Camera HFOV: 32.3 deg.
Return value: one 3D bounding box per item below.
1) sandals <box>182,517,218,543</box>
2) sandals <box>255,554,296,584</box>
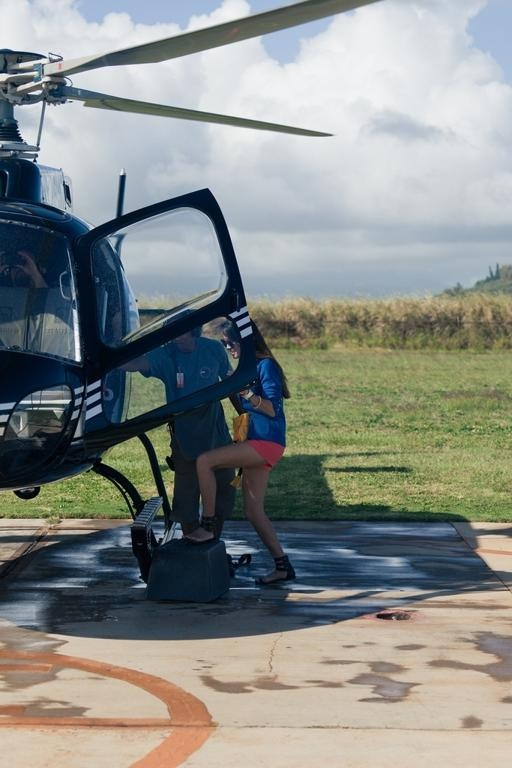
[{"bbox_3d":[-0.270,0.802,4.895,0.268,0.149,0.106,2,-2,-4],"label":"sandals"},{"bbox_3d":[0.080,1.090,5.179,0.324,0.189,0.107,-3,1,3],"label":"sandals"}]
